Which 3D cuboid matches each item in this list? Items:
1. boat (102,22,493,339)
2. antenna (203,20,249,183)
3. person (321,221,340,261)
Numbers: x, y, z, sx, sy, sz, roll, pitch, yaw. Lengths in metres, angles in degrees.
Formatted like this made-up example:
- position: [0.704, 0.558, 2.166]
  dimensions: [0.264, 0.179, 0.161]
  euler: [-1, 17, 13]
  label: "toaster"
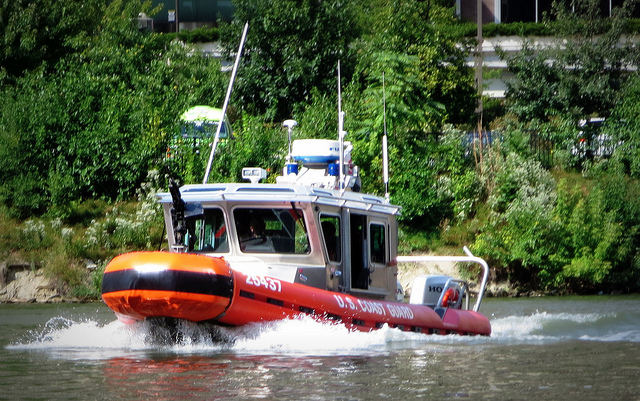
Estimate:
- position: [-0.485, 0.108, 41.203]
  dimensions: [8.171, 12.113, 16.443]
  euler: [-10, -15, 40]
  label: "boat"
- position: [-3.520, -3.533, 39.691]
  dimensions: [1.497, 5.919, 1.299]
  euler: [3, -4, -12]
  label: "antenna"
- position: [0.380, 1.385, 37.417]
  dimensions: [0.595, 1.311, 0.262]
  euler: [-9, 8, -44]
  label: "person"
